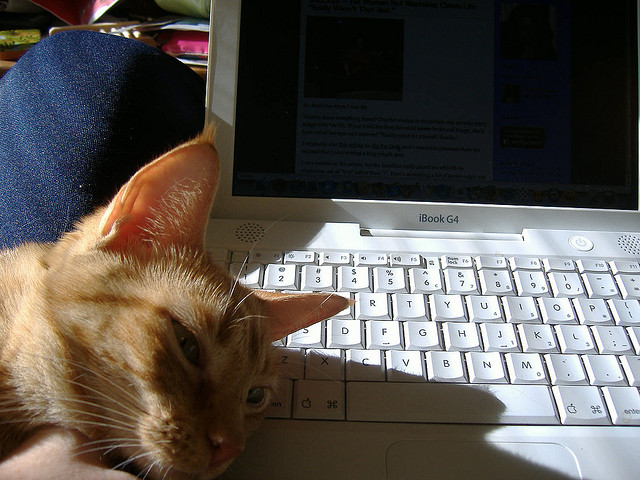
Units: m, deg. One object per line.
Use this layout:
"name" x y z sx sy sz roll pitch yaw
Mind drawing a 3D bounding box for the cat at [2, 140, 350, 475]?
"cat" -0.212 0.092 0.796 0.483 0.431 0.248 8 22 -2

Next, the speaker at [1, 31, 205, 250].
"speaker" -0.399 -0.176 1.014 0.387 0.343 0.474 2 22 -15

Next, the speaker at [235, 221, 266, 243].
"speaker" -0.135 -0.015 1.086 0.057 0.030 0.036 7 22 -3
